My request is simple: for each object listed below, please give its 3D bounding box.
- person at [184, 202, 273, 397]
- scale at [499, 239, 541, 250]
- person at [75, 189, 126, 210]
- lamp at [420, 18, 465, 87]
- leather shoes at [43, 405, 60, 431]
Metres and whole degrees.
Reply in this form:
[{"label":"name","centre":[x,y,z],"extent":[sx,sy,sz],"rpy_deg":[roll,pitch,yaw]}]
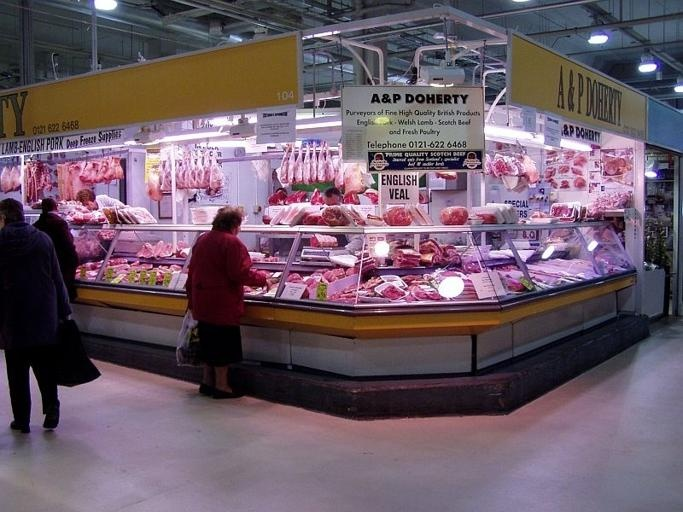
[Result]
[{"label":"person","centre":[-1.133,0.466,5.113],"extent":[0.795,1.875,0.382],"rpy_deg":[0,5,-2]},{"label":"scale","centre":[2.227,-0.126,6.323],"extent":[0.263,0.099,0.296],"rpy_deg":[1,2,43]},{"label":"person","centre":[-3.784,-0.862,8.119],"extent":[0.821,0.309,0.331],"rpy_deg":[4,6,31]},{"label":"lamp","centre":[1.036,-1.972,5.164],"extent":[0.390,0.539,0.503],"rpy_deg":[5,24,17]},{"label":"leather shoes","centre":[-2.462,1.390,4.539],"extent":[0.112,0.208,0.099],"rpy_deg":[12,-18,-9]}]
